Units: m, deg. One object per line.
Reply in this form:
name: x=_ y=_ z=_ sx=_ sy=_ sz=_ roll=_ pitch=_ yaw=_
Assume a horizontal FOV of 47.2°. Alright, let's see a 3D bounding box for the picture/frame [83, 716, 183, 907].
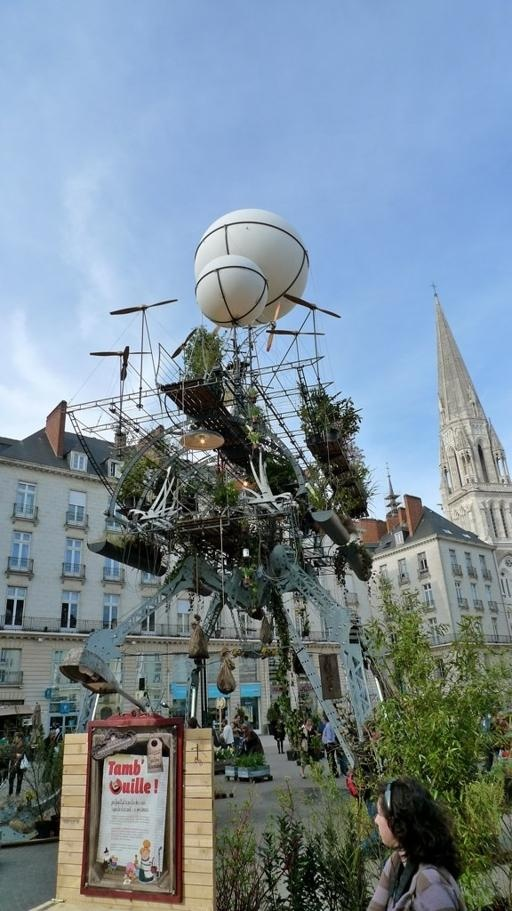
picture/frame: x=-0.882 y=2.241 z=3.772 sx=0.822 sy=1.021 sz=0.125 roll=-14 pitch=-21 yaw=22
